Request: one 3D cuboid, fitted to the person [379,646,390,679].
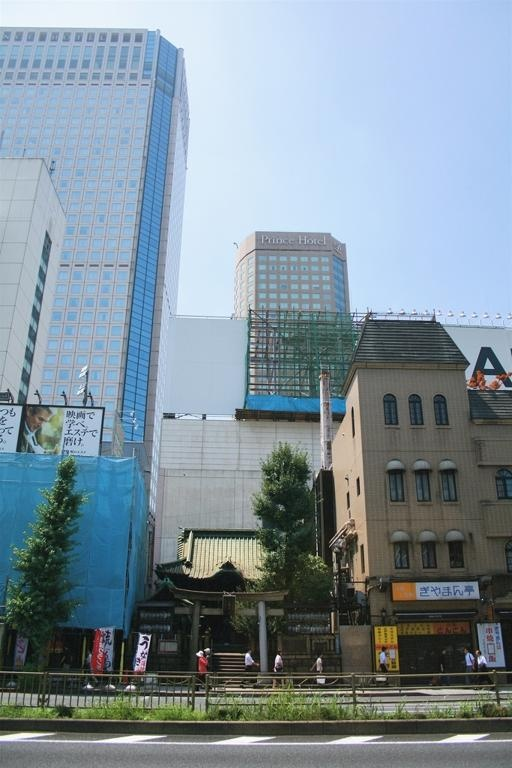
[{"bbox_3d":[5.339,11.532,23.614,0.432,0.960,0.487,1,-23,-2],"label":"person"}]
